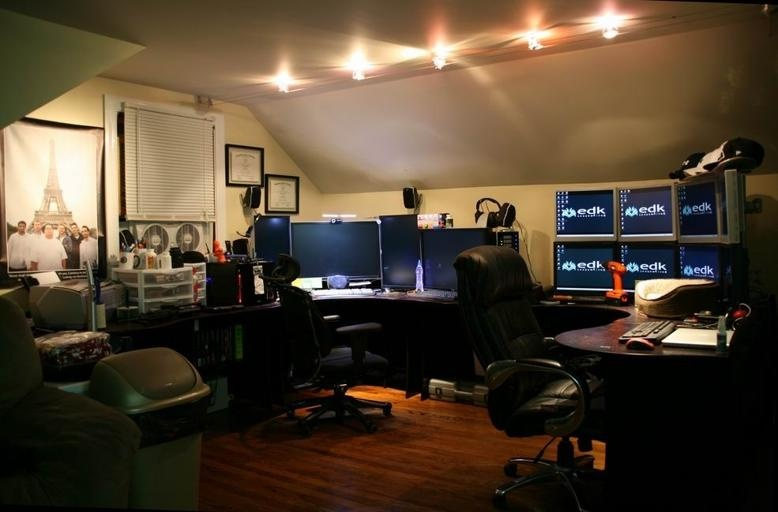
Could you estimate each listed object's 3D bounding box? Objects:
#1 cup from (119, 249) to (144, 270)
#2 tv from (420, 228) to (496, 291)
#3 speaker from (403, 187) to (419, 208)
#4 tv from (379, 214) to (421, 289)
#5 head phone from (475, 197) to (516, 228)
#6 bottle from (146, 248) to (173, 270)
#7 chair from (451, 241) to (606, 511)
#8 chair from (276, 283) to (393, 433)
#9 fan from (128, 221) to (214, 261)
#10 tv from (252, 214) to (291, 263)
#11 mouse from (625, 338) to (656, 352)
[{"bbox_3d":[-1.938,0.026,4.426,0.213,0.137,0.122,0,0,-8],"label":"cup"},{"bbox_3d":[0.540,0.007,4.518,0.546,0.493,0.276,2,7,26],"label":"tv"},{"bbox_3d":[0.218,-0.606,6.137,0.160,0.245,0.119,0,11,8],"label":"speaker"},{"bbox_3d":[0.089,-0.040,5.351,0.427,0.683,0.106,4,13,26],"label":"tv"},{"bbox_3d":[0.998,-0.406,5.443,0.341,0.125,0.327,-9,33,-8],"label":"head phone"},{"bbox_3d":[-1.782,0.036,4.506,0.203,0.161,0.116,3,-2,-28],"label":"bottle"},{"bbox_3d":[0.920,0.741,3.594,0.890,1.544,0.857,-4,12,-13],"label":"chair"},{"bbox_3d":[-0.431,0.777,5.150,1.102,1.375,1.123,-1,0,-18],"label":"chair"},{"bbox_3d":[-1.999,-0.140,5.263,0.156,0.335,0.382,0,2,42],"label":"fan"},{"bbox_3d":[-1.107,-0.174,5.521,0.338,0.408,0.137,-2,11,-1],"label":"tv"},{"bbox_3d":[1.367,0.483,3.198,0.120,0.040,0.069,-4,3,26],"label":"mouse"}]
